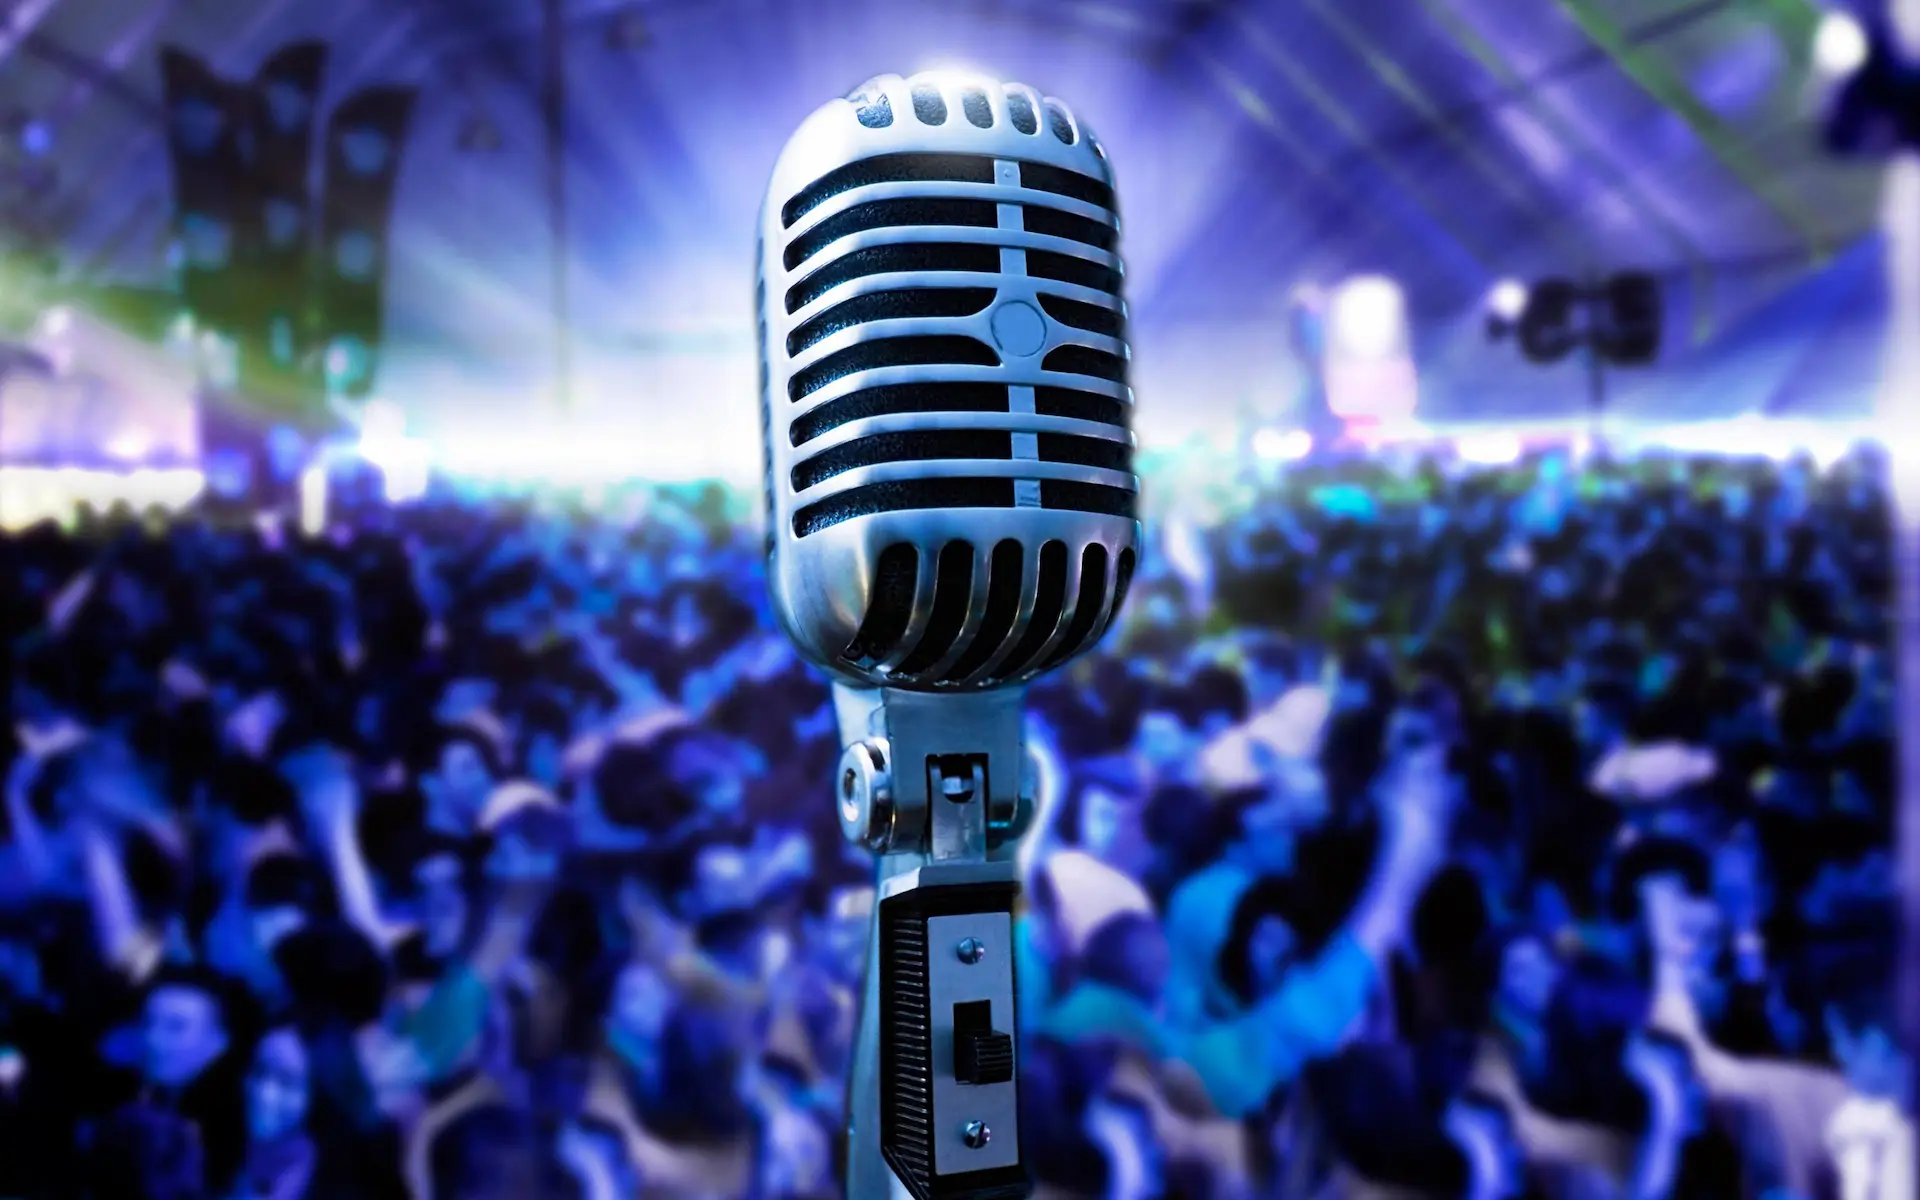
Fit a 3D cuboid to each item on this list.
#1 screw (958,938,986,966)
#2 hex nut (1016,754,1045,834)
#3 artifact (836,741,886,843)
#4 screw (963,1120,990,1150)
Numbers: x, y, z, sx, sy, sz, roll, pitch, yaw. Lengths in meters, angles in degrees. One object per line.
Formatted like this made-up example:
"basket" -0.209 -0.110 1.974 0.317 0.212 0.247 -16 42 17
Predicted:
"screw" 0.013 0.391 2.605 0.027 0.029 0.008 -8 6 -17
"hex nut" 0.082 0.222 2.691 0.029 0.110 0.075 3 -2 8
"artifact" -0.108 0.215 2.636 0.026 0.100 0.085 1 -16 -20
"screw" 0.021 0.590 2.588 0.028 0.031 0.007 12 -12 -11
